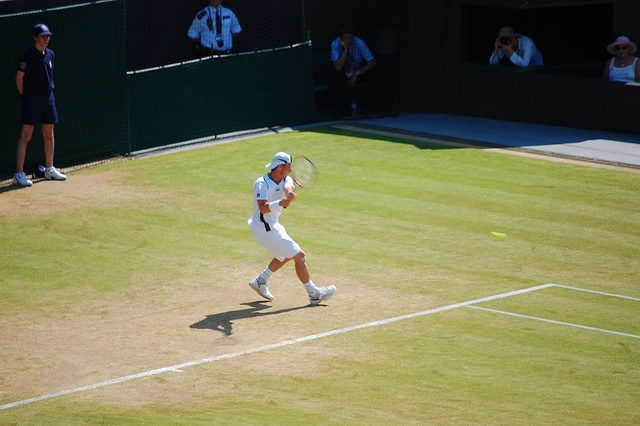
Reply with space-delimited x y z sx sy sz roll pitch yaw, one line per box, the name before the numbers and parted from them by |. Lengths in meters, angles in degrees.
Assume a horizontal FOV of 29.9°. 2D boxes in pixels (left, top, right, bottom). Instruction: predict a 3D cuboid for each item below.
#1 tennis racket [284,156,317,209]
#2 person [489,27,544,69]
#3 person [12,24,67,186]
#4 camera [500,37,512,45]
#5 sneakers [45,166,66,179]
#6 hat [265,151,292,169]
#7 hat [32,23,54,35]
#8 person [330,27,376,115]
tennis racket | -0.289 -0.596 20.420 0.386 0.560 0.198 43 39 22
person | 4.791 -4.007 29.343 1.275 0.951 0.727 1 11 7
person | -5.724 -2.123 24.184 0.983 3.210 0.608 -6 12 -22
camera | 4.531 -4.145 29.124 0.337 0.196 0.134 -8 13 -36
sneakers | -5.477 -0.818 24.804 0.571 0.252 0.171 5 41 -6
hat | -0.697 -0.852 19.996 0.428 0.177 0.244 -11 18 0
hat | -5.558 -3.585 23.804 0.427 0.195 0.264 -5 18 14
person | 0.717 -3.453 29.782 0.805 2.193 1.061 7 14 37
